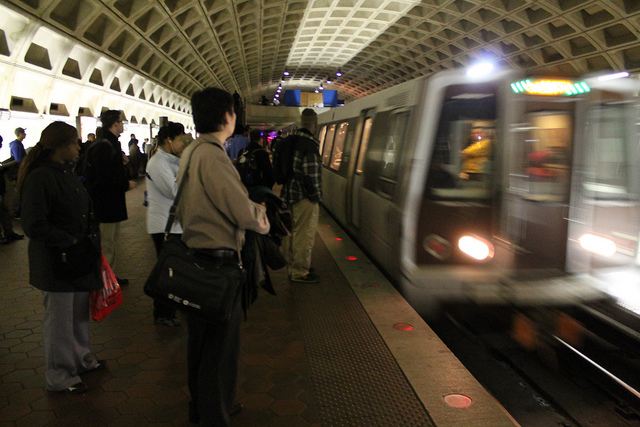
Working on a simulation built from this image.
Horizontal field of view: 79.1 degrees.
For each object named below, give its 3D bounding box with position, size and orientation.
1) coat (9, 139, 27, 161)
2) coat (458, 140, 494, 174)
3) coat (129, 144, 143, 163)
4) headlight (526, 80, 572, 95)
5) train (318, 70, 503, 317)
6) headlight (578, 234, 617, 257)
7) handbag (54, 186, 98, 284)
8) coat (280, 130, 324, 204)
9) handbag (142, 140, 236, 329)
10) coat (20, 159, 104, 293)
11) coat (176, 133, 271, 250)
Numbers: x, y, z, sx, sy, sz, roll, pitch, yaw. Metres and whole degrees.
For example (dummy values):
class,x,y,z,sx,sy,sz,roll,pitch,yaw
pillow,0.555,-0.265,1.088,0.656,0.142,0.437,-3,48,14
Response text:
class,x,y,z,sx,sy,sz,roll,pitch,yaw
coat,-8.148,-1.734,10.443,0.282,0.534,0.540,-4,11,-36
coat,2.107,-0.765,5.186,0.487,0.451,0.396,4,3,6
coat,-8.851,-2.887,18.534,0.441,0.849,1.226,-1,10,-25
headlight,2.948,-1.618,4.911,0.621,0.176,0.041,4,5,-6
train,1.314,-0.581,7.011,1.117,3.320,4.619,1,9,-14
headlight,3.811,0.438,5.273,0.552,0.295,0.123,1,9,-10
handbag,-2.445,0.212,3.916,0.413,0.843,0.113,-20,-6,-5
coat,-0.263,-0.715,6.000,0.650,1.151,0.358,4,9,8
handbag,-1.054,0.168,3.216,0.709,1.559,0.502,3,9,-2
coat,-2.707,0.081,4.077,0.881,1.266,1.052,2,4,-9
coat,-0.867,-0.185,3.517,0.663,0.971,1.084,-1,3,-35
